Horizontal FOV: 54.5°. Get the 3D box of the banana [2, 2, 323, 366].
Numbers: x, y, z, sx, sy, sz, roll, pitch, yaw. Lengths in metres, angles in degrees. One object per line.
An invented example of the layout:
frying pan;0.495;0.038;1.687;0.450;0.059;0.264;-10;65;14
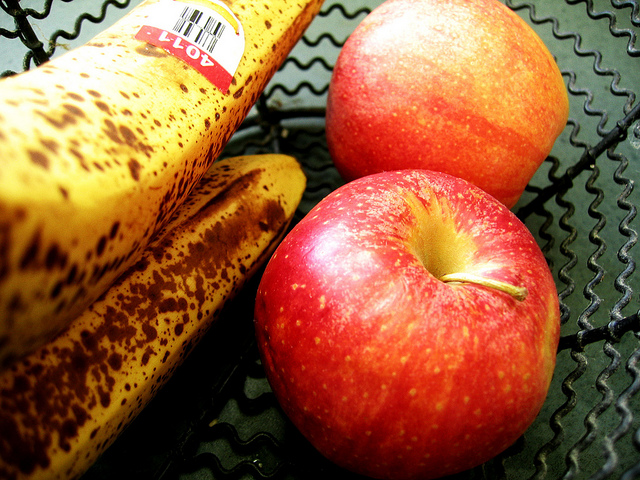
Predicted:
banana;-0.156;-0.153;0.774;0.147;0.205;0.618;24;47;2
